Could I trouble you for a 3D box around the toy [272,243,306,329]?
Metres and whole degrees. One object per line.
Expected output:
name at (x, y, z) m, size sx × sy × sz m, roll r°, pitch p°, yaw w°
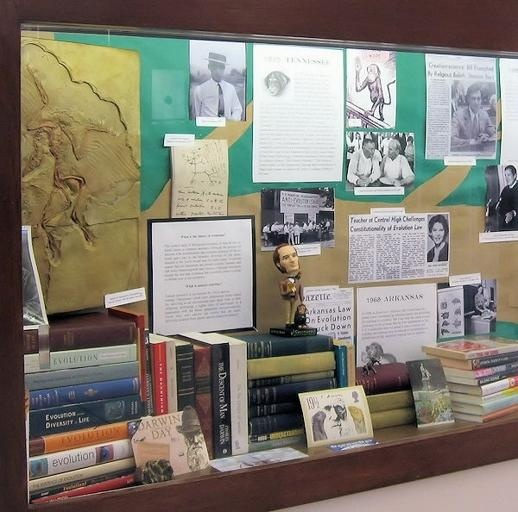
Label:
toy at (0.076, 0.076, 1.399) m, size 0.067 × 0.217 × 0.069 m, roll -2°, pitch -2°, yaw 2°
